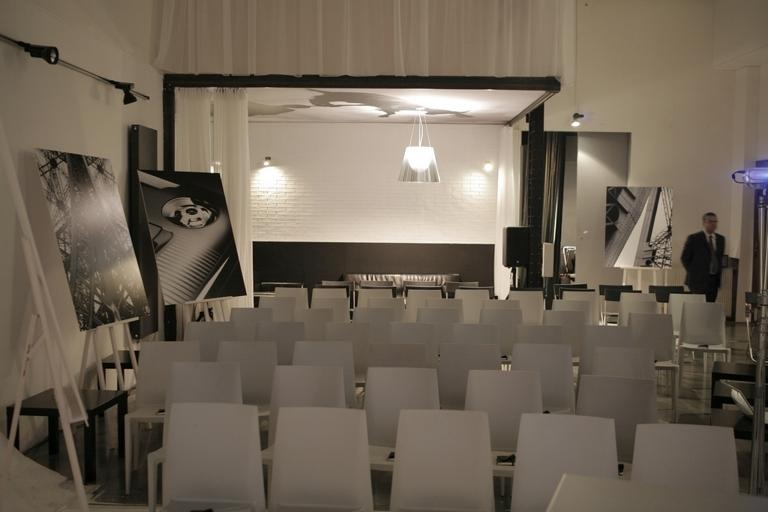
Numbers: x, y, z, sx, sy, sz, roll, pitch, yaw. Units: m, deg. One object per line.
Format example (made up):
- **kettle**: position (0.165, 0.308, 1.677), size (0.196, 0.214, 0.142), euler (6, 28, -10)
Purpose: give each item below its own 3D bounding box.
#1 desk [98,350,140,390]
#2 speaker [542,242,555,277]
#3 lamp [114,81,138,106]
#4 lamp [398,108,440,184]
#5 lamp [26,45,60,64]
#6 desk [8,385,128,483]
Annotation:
- **desk**: position (-3.041, 1.285, 8.038), size (0.377, 0.569, 0.552), euler (1, 3, 5)
- **speaker**: position (2.956, 0.064, 12.775), size (0.199, 0.602, 0.444), euler (3, 3, 7)
- **lamp**: position (-3.178, -2.028, 8.758), size (0.200, 0.261, 0.423), euler (3, 2, 7)
- **lamp**: position (0.642, -2.053, 12.686), size (0.711, 1.693, 0.788), euler (1, -5, -6)
- **lamp**: position (-3.543, -2.119, 7.355), size (0.274, 0.181, 0.146), euler (8, 21, 4)
- **desk**: position (-3.068, 1.624, 6.973), size (0.872, 0.831, 0.903), euler (0, -2, 10)
